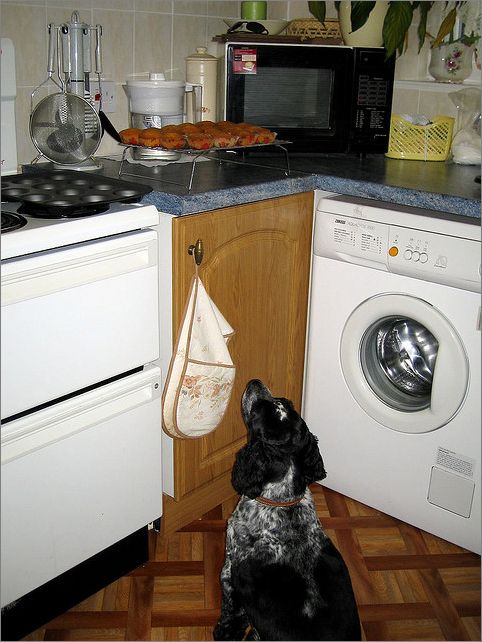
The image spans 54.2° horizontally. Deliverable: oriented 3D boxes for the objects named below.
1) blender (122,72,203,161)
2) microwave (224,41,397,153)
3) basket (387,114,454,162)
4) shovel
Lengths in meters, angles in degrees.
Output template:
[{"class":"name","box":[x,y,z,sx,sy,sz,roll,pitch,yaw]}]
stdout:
[{"class":"blender","box":[-0.245,-0.636,1.451,0.227,0.267,0.178,-17,32,-37]},{"class":"microwave","box":[0.218,-0.723,1.615,0.581,0.420,0.372,-6,25,-17]},{"class":"basket","box":[0.609,-0.625,1.645,0.205,0.122,0.149,6,36,9]},{"class":"shovel","box":[-0.377,-0.647,1.299,0.038,0.288,0.070,0,37,-14]}]
